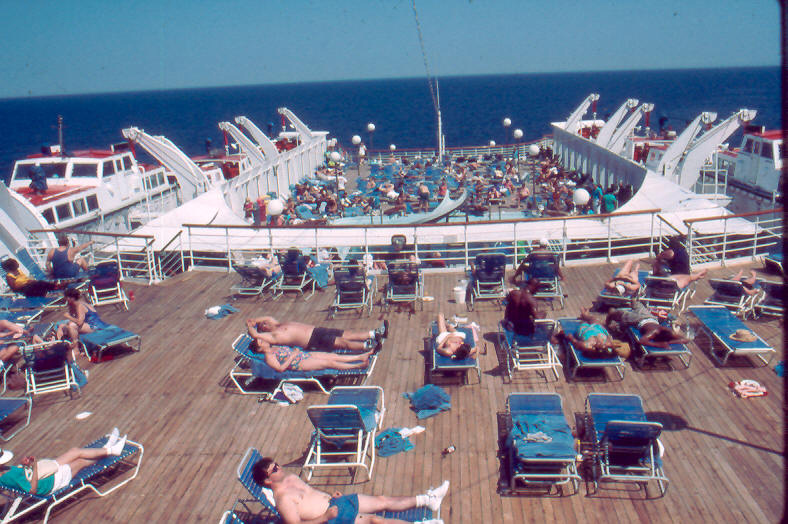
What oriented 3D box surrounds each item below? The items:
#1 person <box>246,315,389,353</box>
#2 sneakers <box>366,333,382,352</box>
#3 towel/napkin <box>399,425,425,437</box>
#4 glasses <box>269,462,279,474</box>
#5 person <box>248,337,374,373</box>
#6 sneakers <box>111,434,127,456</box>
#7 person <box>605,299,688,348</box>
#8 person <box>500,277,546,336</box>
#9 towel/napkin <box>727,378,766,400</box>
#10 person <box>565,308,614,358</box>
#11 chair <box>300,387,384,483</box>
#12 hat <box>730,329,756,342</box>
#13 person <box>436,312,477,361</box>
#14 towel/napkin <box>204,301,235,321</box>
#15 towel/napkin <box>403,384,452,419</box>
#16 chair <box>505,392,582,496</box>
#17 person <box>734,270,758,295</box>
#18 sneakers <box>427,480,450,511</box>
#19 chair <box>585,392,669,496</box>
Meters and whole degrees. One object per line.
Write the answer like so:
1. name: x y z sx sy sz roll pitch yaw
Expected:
1. person: -1.572 1.444 12.728 2.471 0.668 1.032 6 19 -6
2. sneakers: -0.370 1.612 12.627 0.157 0.515 0.217 8 -7 18
3. towel/napkin: 0.299 2.999 11.328 0.288 0.079 0.183 -3 18 -7
4. glasses: -1.801 3.113 9.780 0.091 0.142 0.176 3 26 25
5. person: -1.453 1.855 12.233 1.490 0.414 0.905 0 12 0
6. sneakers: -4.578 3.057 10.770 0.114 0.236 0.336 13 45 -2
7. person: 4.929 1.257 12.664 0.839 0.508 1.298 -11 19 -12
8. person: 2.457 0.832 12.878 0.746 1.104 0.940 -8 14 -14
9. towel/napkin: 6.453 2.342 11.779 0.389 0.119 0.378 -3 20 6
10. person: 3.848 1.378 12.621 0.833 0.350 1.449 2 23 2
11. chair: -0.835 2.867 10.778 0.904 0.912 1.743 1 38 2
12. hat: 6.680 1.432 12.420 0.298 0.080 0.293 -16 18 -32
13. person: 1.203 1.461 12.646 0.798 0.660 1.171 -5 23 6
14. towel/napkin: -4.086 1.155 15.052 0.442 0.127 0.444 6 21 13
15. towel/napkin: 0.597 2.604 11.935 1.069 0.165 0.962 0 28 26
16. chair: 2.413 3.016 10.588 1.161 1.120 1.202 -4 23 8
17. person: 7.765 0.471 14.273 0.354 0.485 1.012 4 1 30
18. sneakers: 0.673 3.639 10.164 0.183 0.255 0.586 -15 27 43
19. chair: 3.747 2.773 10.545 0.923 0.999 1.792 -1 46 7
